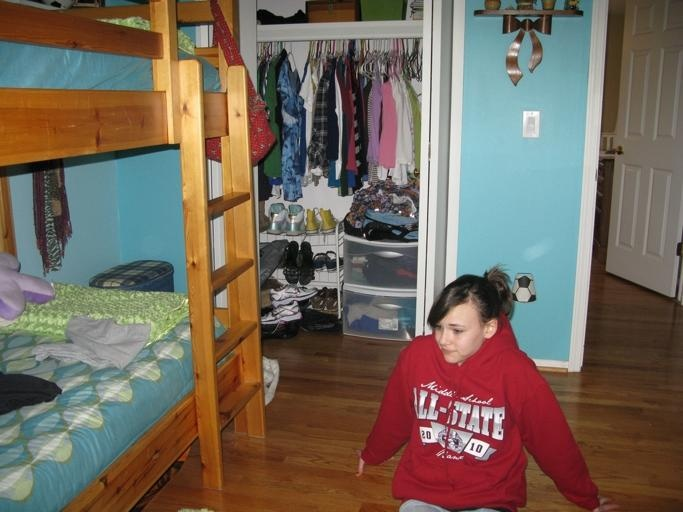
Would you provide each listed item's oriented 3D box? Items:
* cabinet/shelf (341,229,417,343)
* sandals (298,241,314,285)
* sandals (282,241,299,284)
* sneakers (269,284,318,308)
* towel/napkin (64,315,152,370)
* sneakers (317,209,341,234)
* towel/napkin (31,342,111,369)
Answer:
[{"bbox_3d":[0.298,0.204,4.179,0.656,0.883,0.701,3,11,11],"label":"cabinet/shelf"},{"bbox_3d":[-0.274,0.100,4.349,0.124,0.080,0.343,-2,35,8],"label":"sandals"},{"bbox_3d":[-0.407,0.057,4.383,0.112,0.329,0.087,-3,-14,6],"label":"sandals"},{"bbox_3d":[-0.385,0.298,4.199,0.400,0.159,0.145,-10,4,-19],"label":"sneakers"},{"bbox_3d":[-1.043,0.380,2.453,0.264,0.053,0.204,11,41,4],"label":"towel/napkin"},{"bbox_3d":[-0.099,-0.270,4.349,0.095,0.146,0.256,1,21,8],"label":"sneakers"},{"bbox_3d":[-1.160,0.423,2.376,0.333,0.050,0.132,9,34,11],"label":"towel/napkin"}]
